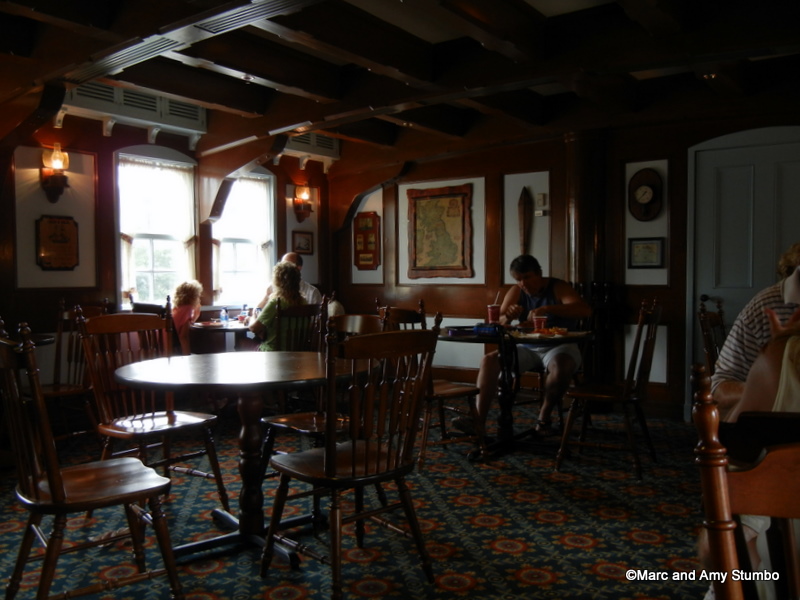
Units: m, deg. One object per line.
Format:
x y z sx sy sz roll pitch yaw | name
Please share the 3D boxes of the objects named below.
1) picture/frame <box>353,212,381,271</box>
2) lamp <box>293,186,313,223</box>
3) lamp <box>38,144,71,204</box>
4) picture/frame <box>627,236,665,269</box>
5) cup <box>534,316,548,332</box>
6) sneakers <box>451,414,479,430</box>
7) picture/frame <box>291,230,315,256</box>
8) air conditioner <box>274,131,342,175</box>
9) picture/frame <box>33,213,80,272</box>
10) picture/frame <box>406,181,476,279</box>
-0.469 -0.832 8.633 0.523 0.822 0.094 6 9 45 | picture/frame
-1.341 -1.336 8.539 0.129 0.494 0.383 3 7 24 | lamp
-3.475 -1.273 6.139 0.279 0.583 0.184 -5 8 -38 | lamp
2.569 -0.497 6.357 0.347 0.333 0.034 3 3 37 | picture/frame
1.099 0.177 4.837 0.105 0.107 0.103 0 -4 0 | cup
0.556 1.029 5.114 0.298 0.085 0.217 2 -1 -40 | sneakers
-1.370 -0.799 8.468 0.039 0.414 0.505 -6 -4 35 | picture/frame
-1.279 -2.023 8.309 0.252 0.491 0.882 5 5 45 | air conditioner
-3.492 -0.580 6.211 0.444 0.580 0.023 2 4 2 | picture/frame
0.555 -0.914 7.859 1.338 1.561 0.157 0 2 31 | picture/frame
